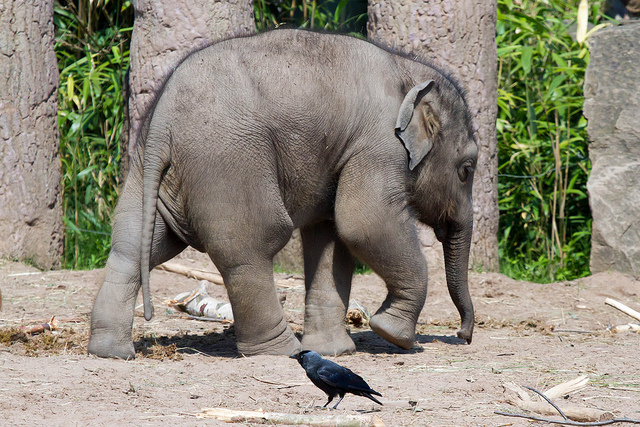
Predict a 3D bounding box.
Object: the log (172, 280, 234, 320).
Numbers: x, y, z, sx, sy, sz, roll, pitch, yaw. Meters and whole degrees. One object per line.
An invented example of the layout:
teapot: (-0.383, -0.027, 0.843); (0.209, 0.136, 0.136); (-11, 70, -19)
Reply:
log: (-0.953, 0.746, 9.689); (0.706, 0.320, 0.239); (6, 0, 31)

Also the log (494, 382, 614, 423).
log: (1.498, 1.321, 7.711); (0.922, 0.160, 0.252); (9, 15, 10)

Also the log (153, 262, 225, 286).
log: (-1.198, 0.558, 10.220); (0.690, 0.103, 0.094); (14, 33, 23)

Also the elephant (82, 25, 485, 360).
elephant: (-0.219, -0.223, 9.757); (3.593, 2.819, 1.876); (-2, 6, -23)

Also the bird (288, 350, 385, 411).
bird: (0.119, 1.143, 7.716); (0.680, 0.405, 0.230); (3, -4, -8)
